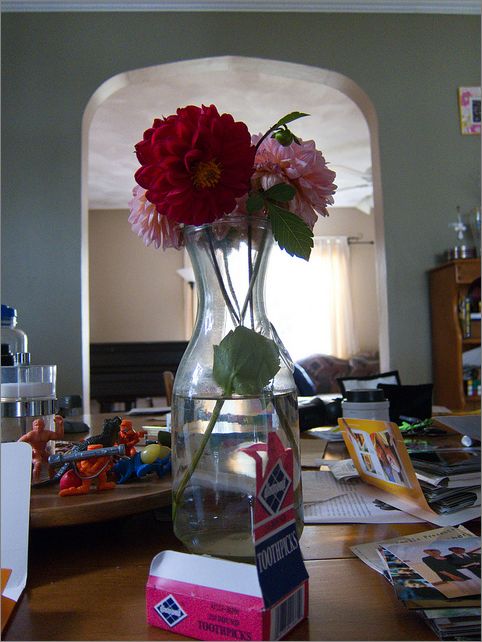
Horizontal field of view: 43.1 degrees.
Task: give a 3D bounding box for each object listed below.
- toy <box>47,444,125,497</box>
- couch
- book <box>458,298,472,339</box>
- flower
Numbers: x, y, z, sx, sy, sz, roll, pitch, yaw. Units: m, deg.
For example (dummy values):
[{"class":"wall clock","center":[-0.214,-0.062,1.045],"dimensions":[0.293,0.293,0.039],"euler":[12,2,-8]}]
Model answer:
[{"class":"toy","center":[-0.137,0.135,0.559],"dimensions":[0.061,0.042,0.041],"euler":[-7,-9,1]},{"class":"couch","center":[0.847,0.525,4.760],"dimensions":[0.592,0.751,0.728],"euler":[-5,-18,17]},{"class":"book","center":[0.972,-0.015,2.642],"dimensions":[0.022,0.190,0.091],"euler":[-5,-1,44]},{"class":"flower","center":[-0.013,-0.113,0.517],"dimensions":[0.146,0.097,0.143],"euler":[-11,8,-13]}]
